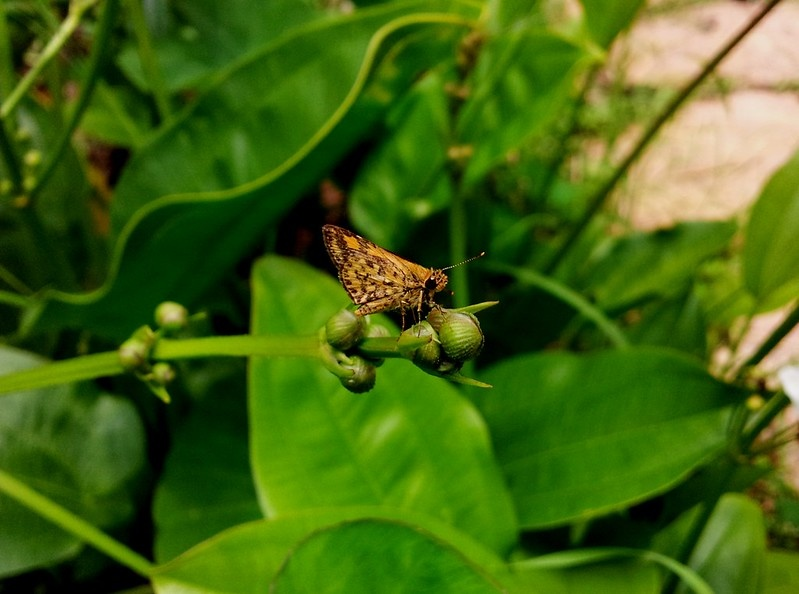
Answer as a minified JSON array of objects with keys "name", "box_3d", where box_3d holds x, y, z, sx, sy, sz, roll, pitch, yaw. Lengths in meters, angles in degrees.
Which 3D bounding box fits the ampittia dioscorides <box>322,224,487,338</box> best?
[{"name":"ampittia dioscorides","box_3d":[0.003,-0.013,0.502,0.084,0.062,0.038,-4,0,15]}]
